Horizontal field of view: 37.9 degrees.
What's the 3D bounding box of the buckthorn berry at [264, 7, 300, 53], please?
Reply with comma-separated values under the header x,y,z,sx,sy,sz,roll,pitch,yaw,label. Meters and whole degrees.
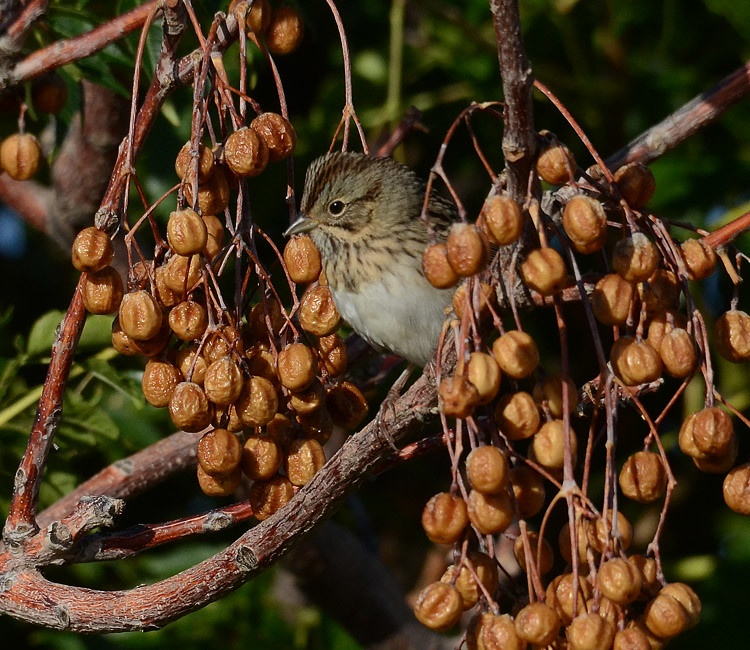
x,y,z,sx,sy,sz,roll,pitch,yaw,label
-0.308,-1.017,3.792,0.113,0.183,0.133,6,12,6,buckthorn berry
